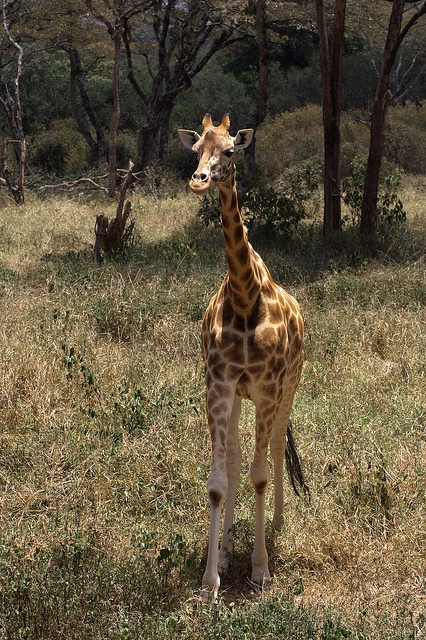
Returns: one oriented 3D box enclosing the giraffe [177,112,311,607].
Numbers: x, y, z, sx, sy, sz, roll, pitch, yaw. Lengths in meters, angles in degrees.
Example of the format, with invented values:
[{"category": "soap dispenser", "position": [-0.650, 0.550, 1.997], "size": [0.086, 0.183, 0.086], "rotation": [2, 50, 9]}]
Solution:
[{"category": "giraffe", "position": [0.159, 0.185, 5.991], "size": [0.509, 2.867, 1.273], "rotation": [3, 8, 30]}]
